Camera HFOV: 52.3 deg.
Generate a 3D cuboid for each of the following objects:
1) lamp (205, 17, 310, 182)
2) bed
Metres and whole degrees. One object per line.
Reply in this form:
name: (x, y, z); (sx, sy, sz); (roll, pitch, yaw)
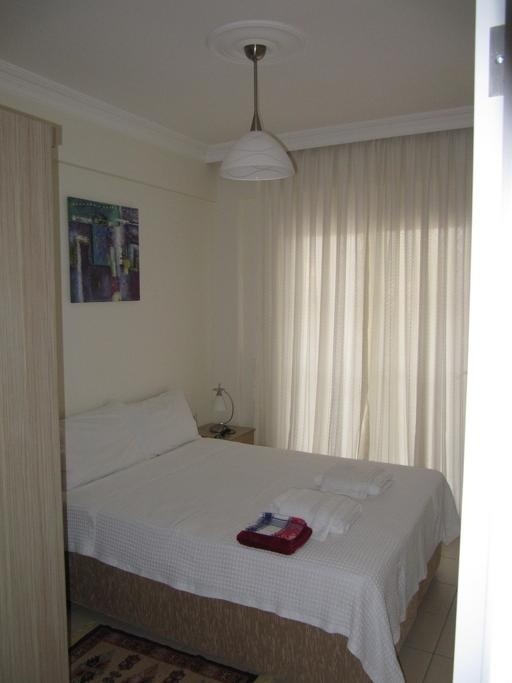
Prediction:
lamp: (-0.036, -0.996, 2.309); (0.387, 0.586, 0.506); (-1, 4, -21)
bed: (-0.109, 0.777, 2.274); (1.421, 0.651, 1.210); (2, 7, 26)
